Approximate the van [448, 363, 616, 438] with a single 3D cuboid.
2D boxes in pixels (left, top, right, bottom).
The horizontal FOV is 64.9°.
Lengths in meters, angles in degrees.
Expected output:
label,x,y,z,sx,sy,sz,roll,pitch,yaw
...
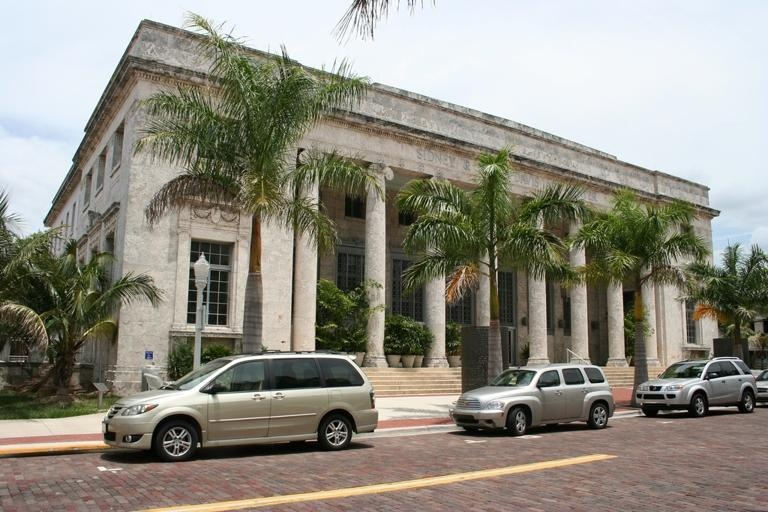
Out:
label,x,y,z,sx,sy,sz,roll,pitch,yaw
van,4.907,4.691,20.033,4.850,1.754,2.343,8,-17,-28
